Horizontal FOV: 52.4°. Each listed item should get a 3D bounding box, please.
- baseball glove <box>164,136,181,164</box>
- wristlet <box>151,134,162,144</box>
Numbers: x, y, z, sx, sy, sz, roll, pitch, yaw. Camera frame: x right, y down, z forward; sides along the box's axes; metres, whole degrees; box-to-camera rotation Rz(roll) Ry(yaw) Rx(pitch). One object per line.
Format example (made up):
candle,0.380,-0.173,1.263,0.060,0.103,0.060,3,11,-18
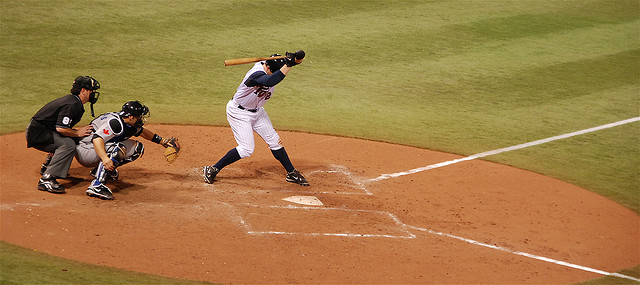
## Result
baseball glove,-4.480,0.179,19.709,0.598,0.523,0.723,6,39,4
wristlet,-5.016,-0.109,19.826,0.312,0.255,0.302,-32,14,-31
